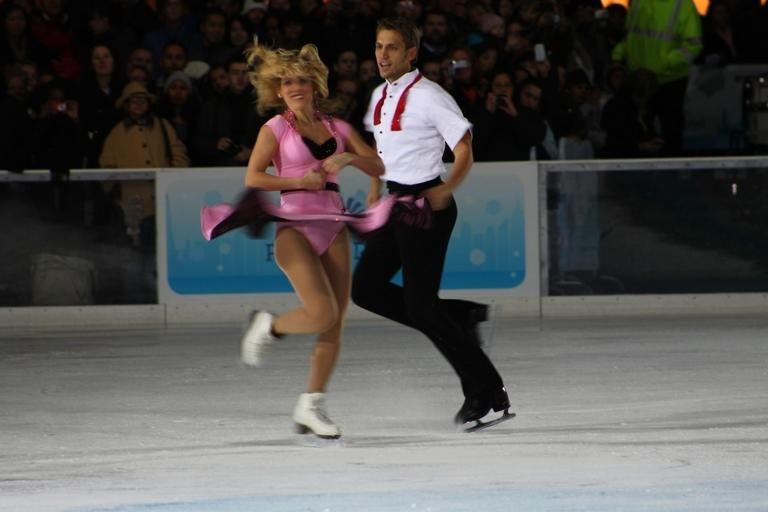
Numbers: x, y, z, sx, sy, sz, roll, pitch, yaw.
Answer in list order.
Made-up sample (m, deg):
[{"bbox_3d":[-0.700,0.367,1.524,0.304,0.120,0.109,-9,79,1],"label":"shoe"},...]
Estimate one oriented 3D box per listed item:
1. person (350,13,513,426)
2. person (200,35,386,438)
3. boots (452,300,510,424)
[{"bbox_3d":[0.462,-0.272,10.332,1.464,2.699,1.103,-1,2,-24],"label":"person"},{"bbox_3d":[-0.657,-0.145,10.110,1.022,2.711,0.939,5,16,24],"label":"person"},{"bbox_3d":[0.710,0.798,10.146,0.429,0.892,0.528,-1,15,3],"label":"boots"}]
